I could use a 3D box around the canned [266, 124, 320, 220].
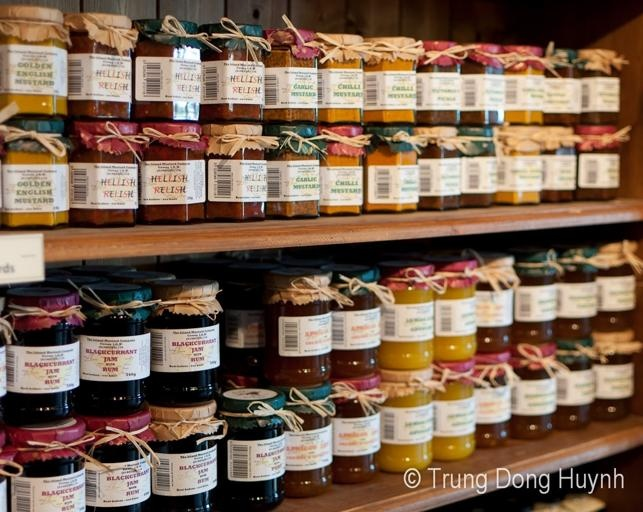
[{"bbox_3d":[-0.052,-0.163,1.421,0.132,0.184,0.049,-16,20,-34],"label":"canned"}]

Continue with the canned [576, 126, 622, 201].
[{"bbox_3d":[0.707,-0.240,1.874,0.116,0.196,0.074,-4,17,6],"label":"canned"}]

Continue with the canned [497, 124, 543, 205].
[{"bbox_3d":[0.491,-0.222,1.760,0.149,0.192,0.063,-16,20,-34],"label":"canned"}]

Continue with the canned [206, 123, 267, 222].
[{"bbox_3d":[-0.162,-0.151,1.338,0.118,0.180,0.061,-6,17,-2],"label":"canned"}]

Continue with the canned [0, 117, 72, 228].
[{"bbox_3d":[-0.453,-0.128,1.150,0.125,0.173,0.047,-12,18,-23],"label":"canned"}]

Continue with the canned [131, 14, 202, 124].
[{"bbox_3d":[-0.268,-0.319,1.269,0.140,0.176,0.069,-9,17,-15],"label":"canned"}]

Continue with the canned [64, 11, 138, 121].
[{"bbox_3d":[-0.367,-0.315,1.227,0.058,0.175,0.129,9,21,41],"label":"canned"}]

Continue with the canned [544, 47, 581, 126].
[{"bbox_3d":[0.602,-0.417,1.827,0.100,0.193,0.070,-3,17,9],"label":"canned"}]

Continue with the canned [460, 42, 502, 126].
[{"bbox_3d":[0.368,-0.387,1.659,0.130,0.183,0.048,-15,19,-30],"label":"canned"}]

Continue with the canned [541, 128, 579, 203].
[{"bbox_3d":[0.591,-0.230,1.831,0.113,0.190,0.049,-17,20,-33],"label":"canned"}]

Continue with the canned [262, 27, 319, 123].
[{"bbox_3d":[-0.055,-0.348,1.427,0.141,0.182,0.057,-17,20,-36],"label":"canned"}]

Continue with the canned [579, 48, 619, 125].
[{"bbox_3d":[0.729,-0.432,1.872,0.156,0.189,0.060,-13,18,-27],"label":"canned"}]

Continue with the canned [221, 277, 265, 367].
[{"bbox_3d":[-0.167,0.144,1.513,0.092,0.178,0.064,-1,17,14],"label":"canned"}]
